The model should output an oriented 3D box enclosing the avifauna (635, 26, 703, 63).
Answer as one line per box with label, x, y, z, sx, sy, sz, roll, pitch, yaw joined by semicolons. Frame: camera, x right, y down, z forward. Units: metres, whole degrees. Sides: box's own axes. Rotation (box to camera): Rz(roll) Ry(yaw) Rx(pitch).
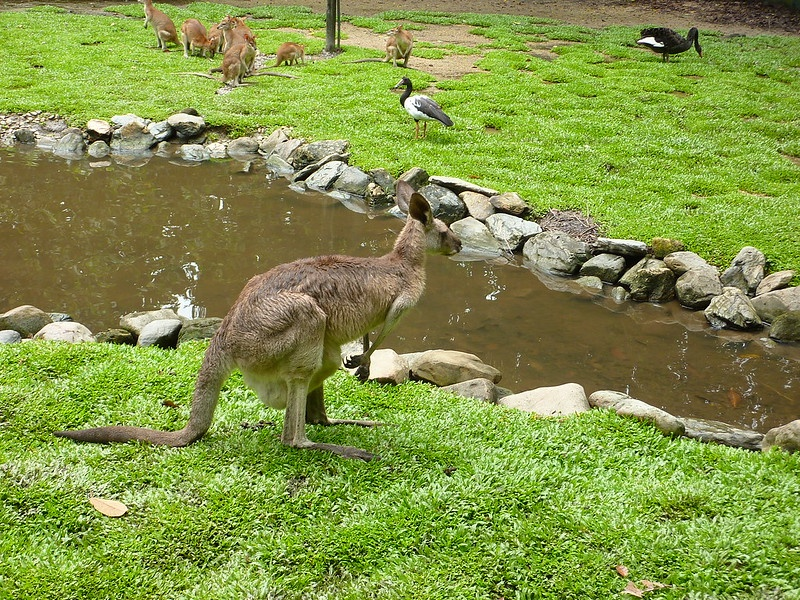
avifauna;8.587;-8.140;32.125;1.752;1.079;1.354;14;28;25
